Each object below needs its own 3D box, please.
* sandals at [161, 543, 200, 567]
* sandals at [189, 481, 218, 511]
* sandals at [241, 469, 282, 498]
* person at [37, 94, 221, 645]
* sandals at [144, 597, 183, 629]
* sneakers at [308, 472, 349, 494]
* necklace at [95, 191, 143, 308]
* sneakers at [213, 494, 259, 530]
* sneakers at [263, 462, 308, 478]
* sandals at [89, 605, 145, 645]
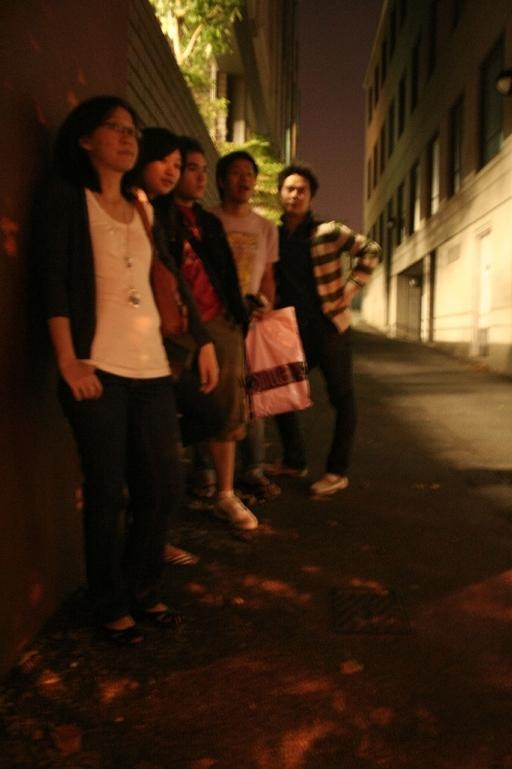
[{"bbox_3d":[-0.343,0.794,3.013,0.147,0.056,0.179,6,3,-44],"label":"sandals"},{"bbox_3d":[-0.319,0.683,3.933,0.117,0.144,0.048,-1,-33,3],"label":"sandals"},{"bbox_3d":[-0.008,0.644,4.162,0.111,0.145,0.324,-31,6,-33],"label":"sandals"},{"bbox_3d":[-0.444,-0.066,2.256,0.275,1.829,0.669,3,6,32],"label":"person"},{"bbox_3d":[-0.331,0.824,2.332,0.169,0.047,0.063,12,12,42],"label":"sandals"},{"bbox_3d":[0.466,0.640,4.224,0.274,0.105,0.098,-6,-7,-46],"label":"sneakers"},{"bbox_3d":[-0.442,-0.433,2.188,0.124,0.394,0.266,3,6,30],"label":"necklace"},{"bbox_3d":[-0.104,0.669,3.502,0.287,0.125,0.115,25,27,39],"label":"sneakers"},{"bbox_3d":[0.206,0.605,4.675,0.325,0.131,0.108,-3,-1,11],"label":"sneakers"},{"bbox_3d":[-0.446,0.810,2.194,0.175,0.043,0.083,5,7,42],"label":"sandals"}]
